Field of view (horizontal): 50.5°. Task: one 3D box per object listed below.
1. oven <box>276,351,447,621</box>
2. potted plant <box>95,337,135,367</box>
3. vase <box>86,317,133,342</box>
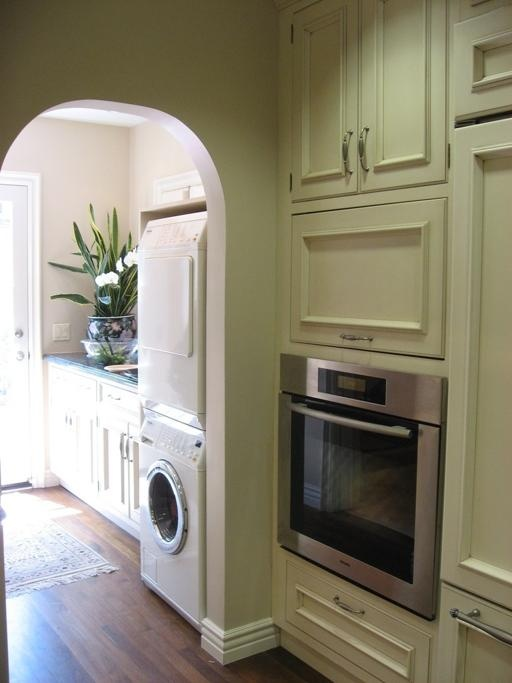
[{"bbox_3d":[0.352,0.353,1.747,0.522,0.732,0.423,10,21,34],"label":"oven"},{"bbox_3d":[-0.878,0.077,3.406,0.147,0.111,0.163,-1,-3,19],"label":"potted plant"},{"bbox_3d":[-0.917,-0.032,3.449,0.171,0.177,0.185,-1,-1,-2],"label":"vase"}]
